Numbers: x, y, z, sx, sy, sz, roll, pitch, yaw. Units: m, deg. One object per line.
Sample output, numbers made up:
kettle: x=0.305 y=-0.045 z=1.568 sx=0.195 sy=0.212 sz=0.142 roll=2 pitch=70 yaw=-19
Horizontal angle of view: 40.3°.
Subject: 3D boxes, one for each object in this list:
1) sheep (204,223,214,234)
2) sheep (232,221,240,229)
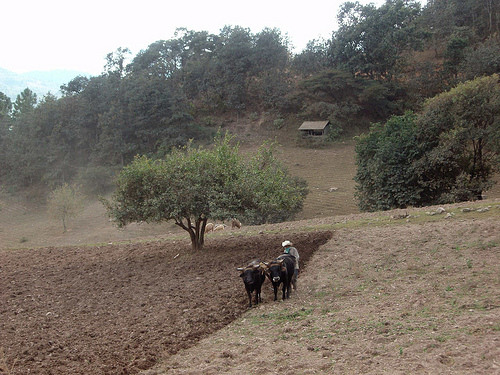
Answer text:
sheep: x=-4.296 y=4.287 z=73.488 sx=0.980 sy=0.855 sz=1.533 roll=-5 pitch=2 yaw=-1
sheep: x=-1.363 y=3.866 z=72.353 sx=0.915 sy=0.680 sz=1.327 roll=-5 pitch=2 yaw=-3
